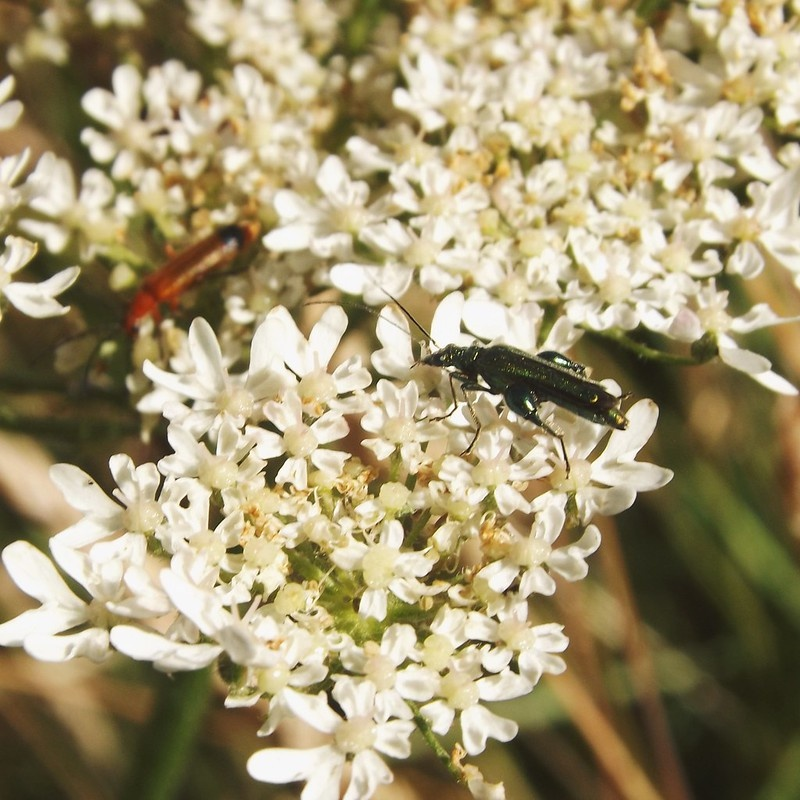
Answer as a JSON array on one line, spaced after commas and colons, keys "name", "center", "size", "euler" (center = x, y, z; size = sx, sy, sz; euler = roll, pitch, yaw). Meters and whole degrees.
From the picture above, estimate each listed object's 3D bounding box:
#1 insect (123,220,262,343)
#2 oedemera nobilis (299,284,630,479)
[{"name": "insect", "center": [-0.398, -0.245, 2.240], "size": [0.312, 0.133, 0.097], "euler": [-37, -13, 1]}, {"name": "oedemera nobilis", "center": [0.200, -0.023, 1.951], "size": [0.305, 0.104, 0.214], "euler": [22, 33, -3]}]
